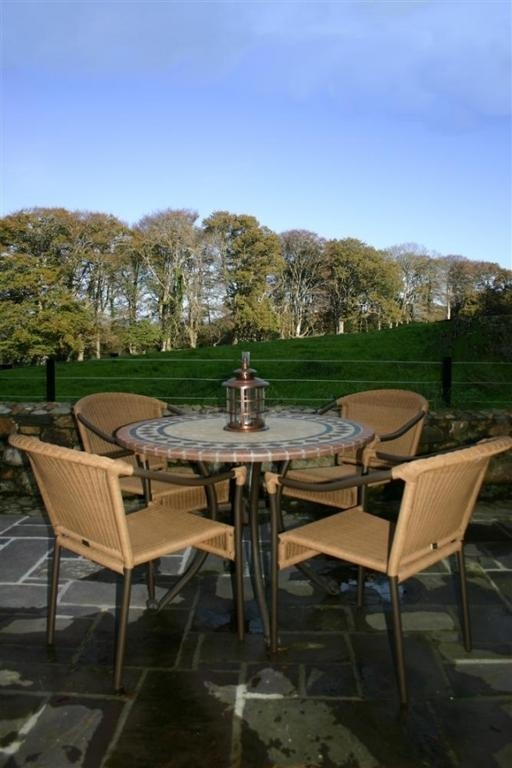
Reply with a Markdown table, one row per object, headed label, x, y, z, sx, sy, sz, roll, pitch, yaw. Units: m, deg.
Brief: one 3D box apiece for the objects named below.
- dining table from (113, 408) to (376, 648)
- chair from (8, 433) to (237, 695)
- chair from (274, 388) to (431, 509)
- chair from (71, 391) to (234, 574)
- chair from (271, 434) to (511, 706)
| label | x | y | z | sx | sy | sz | roll | pitch | yaw |
| --- | --- | --- | --- | --- | --- | --- | --- | --- | --- |
| dining table | -0.100 | 0.324 | 2.138 | 0.836 | 0.587 | 0.846 | 5 | 11 | 37 |
| chair | -0.422 | 0.481 | 1.829 | 0.656 | 0.668 | 0.572 | -4 | 9 | -40 |
| chair | 0.485 | 0.293 | 2.887 | 0.611 | 0.522 | 0.733 | 6 | 3 | 41 |
| chair | -0.433 | 0.369 | 2.986 | 0.724 | 0.883 | 0.753 | 5 | 11 | 39 |
| chair | 0.520 | 0.420 | 1.997 | 0.736 | 0.879 | 0.785 | -8 | 12 | -39 |
